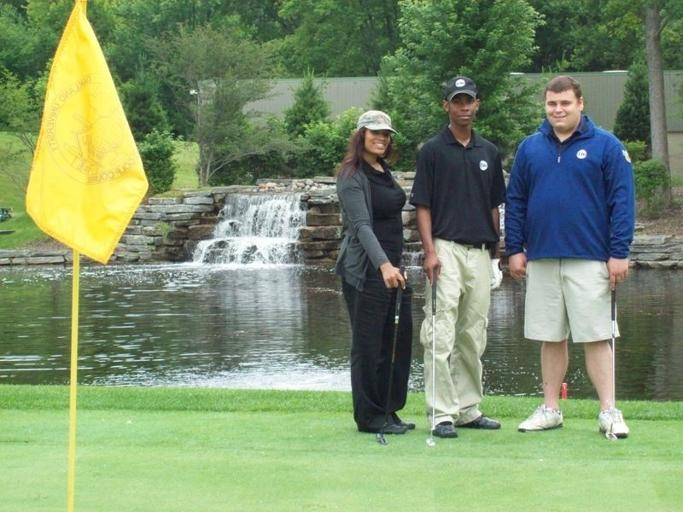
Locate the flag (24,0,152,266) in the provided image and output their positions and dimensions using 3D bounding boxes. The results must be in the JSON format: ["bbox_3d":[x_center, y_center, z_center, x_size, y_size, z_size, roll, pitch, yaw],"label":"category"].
[{"bbox_3d":[-2.898,-1.425,15.101,1.236,2.742,0.270,-5,-1,13],"label":"flag"}]

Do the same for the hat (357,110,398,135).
[{"bbox_3d":[0.384,-1.737,17.130,0.371,0.200,0.482,3,-2,-37],"label":"hat"}]

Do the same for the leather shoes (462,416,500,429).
[{"bbox_3d":[1.821,2.114,17.197,0.555,0.183,0.168,-3,-4,9],"label":"leather shoes"}]

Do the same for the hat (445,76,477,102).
[{"bbox_3d":[1.538,-2.156,17.201,0.392,0.319,0.371,-4,0,5],"label":"hat"}]

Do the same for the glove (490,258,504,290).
[{"bbox_3d":[2.099,0.205,17.395,0.222,0.323,0.274,6,3,-3],"label":"glove"}]

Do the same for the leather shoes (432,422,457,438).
[{"bbox_3d":[1.319,2.156,16.768,0.163,0.093,0.266,2,-5,-39],"label":"leather shoes"}]
